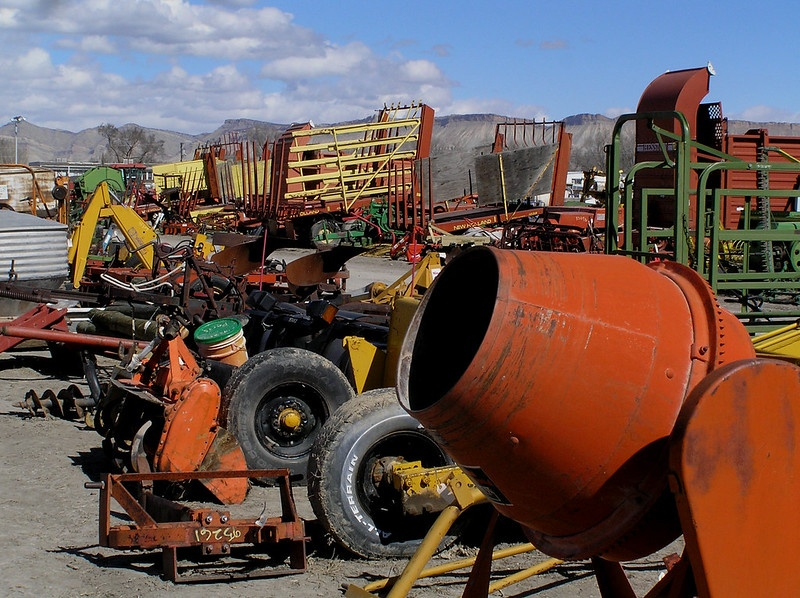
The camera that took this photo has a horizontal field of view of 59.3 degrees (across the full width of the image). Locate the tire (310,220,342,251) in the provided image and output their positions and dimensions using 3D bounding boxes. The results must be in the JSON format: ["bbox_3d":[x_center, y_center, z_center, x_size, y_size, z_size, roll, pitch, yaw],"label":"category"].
[{"bbox_3d":[-1.988,-1.763,18.967,0.777,0.715,0.596,1,6,-9],"label":"tire"}]

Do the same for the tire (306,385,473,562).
[{"bbox_3d":[-0.054,1.103,4.256,1.026,1.040,0.357,28,-5,-8],"label":"tire"}]
